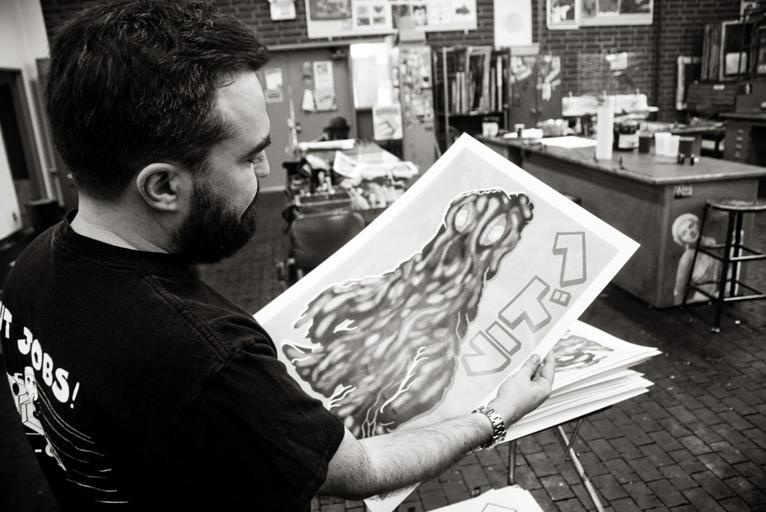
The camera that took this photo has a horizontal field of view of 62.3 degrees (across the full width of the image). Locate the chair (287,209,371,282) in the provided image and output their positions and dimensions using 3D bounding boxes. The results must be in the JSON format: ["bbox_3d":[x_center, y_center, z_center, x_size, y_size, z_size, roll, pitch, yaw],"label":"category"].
[{"bbox_3d":[-0.412,-0.095,4.556,0.409,0.638,0.518,-2,34,-9],"label":"chair"}]

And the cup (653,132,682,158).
[{"bbox_3d":[2.412,-0.933,5.373,0.209,0.172,0.218,-2,11,0],"label":"cup"}]

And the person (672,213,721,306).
[{"bbox_3d":[2.380,-0.007,4.791,0.365,0.768,0.270,-19,22,-6],"label":"person"}]
